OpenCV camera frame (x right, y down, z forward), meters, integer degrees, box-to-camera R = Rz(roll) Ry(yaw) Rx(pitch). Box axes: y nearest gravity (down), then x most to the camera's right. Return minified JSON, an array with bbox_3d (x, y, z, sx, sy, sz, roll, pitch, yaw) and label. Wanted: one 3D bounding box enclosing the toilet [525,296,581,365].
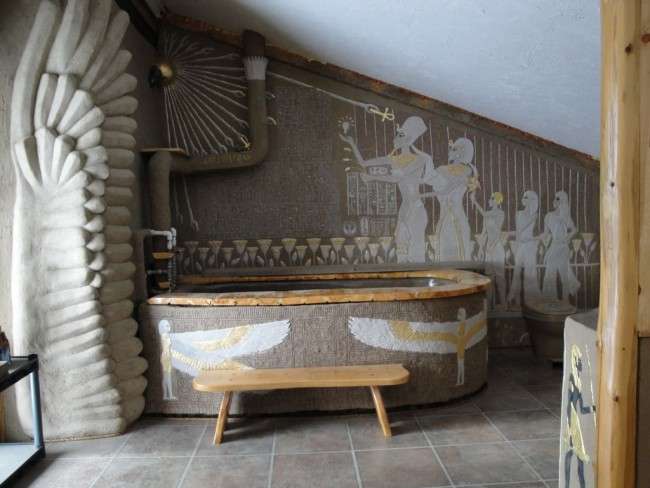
[{"bbox_3d":[2.034,0.762,4.383,0.427,0.458,0.538,-10,-6,36],"label":"toilet"}]
